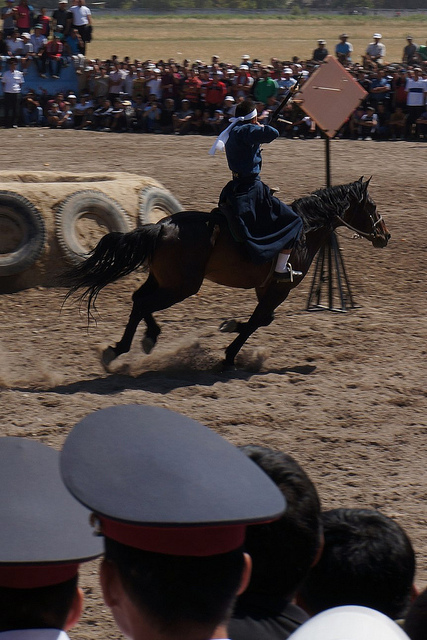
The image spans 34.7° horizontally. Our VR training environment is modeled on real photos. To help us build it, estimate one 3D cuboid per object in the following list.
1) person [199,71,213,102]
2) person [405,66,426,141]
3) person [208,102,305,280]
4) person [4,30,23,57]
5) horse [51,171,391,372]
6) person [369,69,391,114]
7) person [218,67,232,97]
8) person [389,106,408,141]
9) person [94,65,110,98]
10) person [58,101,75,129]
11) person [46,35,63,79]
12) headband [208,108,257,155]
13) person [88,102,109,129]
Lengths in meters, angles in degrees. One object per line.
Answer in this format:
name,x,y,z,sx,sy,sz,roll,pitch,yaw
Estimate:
person,-0.178,-5.593,16.422,0.214,0.761,0.455,11,5,-8
person,4.517,-4.887,15.308,0.490,1.413,0.528,9,4,11
person,0.294,-1.080,5.698,0.830,1.076,0.862,9,4,20
person,-5.033,-6.948,17.258,0.324,0.683,0.477,5,4,-39
horse,0.070,-0.461,5.961,3.117,1.594,0.627,0,22,-20
person,3.818,-5.151,15.678,0.462,1.139,0.341,11,37,19
person,0.286,-5.725,16.501,0.401,0.359,1.004,-9,46,7
person,4.247,-4.475,15.511,0.421,0.652,0.209,6,4,-22
person,-2.823,-6.042,17.264,0.242,0.826,0.528,6,4,-34
person,-3.636,-5.091,16.914,0.233,0.710,0.366,11,5,35
person,-4.101,-6.752,17.552,0.423,1.050,0.238,8,4,-10
headband,0.161,-1.574,5.732,0.303,0.429,0.129,28,9,14
person,-2.827,-5.027,16.862,0.216,0.694,0.397,14,-5,9
